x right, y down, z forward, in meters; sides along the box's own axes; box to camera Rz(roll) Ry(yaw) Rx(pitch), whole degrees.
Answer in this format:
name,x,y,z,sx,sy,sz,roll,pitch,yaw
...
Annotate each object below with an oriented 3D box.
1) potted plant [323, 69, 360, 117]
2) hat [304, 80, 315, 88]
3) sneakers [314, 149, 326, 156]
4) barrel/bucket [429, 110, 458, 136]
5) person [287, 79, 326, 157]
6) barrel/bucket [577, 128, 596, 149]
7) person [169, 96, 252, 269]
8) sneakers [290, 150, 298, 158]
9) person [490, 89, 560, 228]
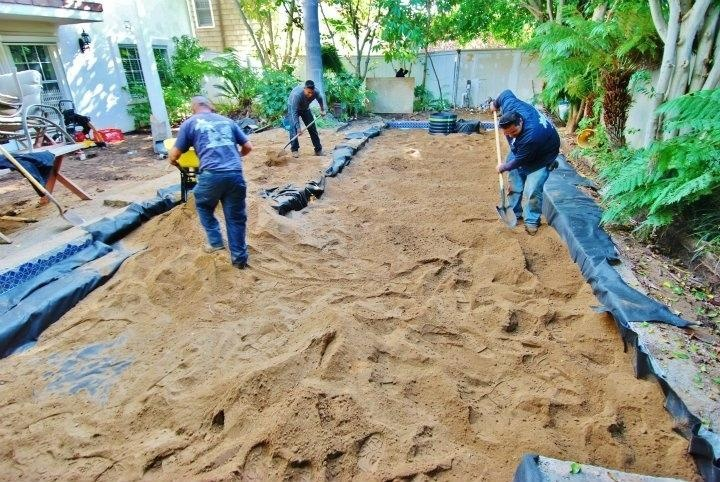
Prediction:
name,x,y,z,sx,sy,sz,roll,pitch,yaw
potted plant,-0.455,-4.128,13.091,0.847,1.250,1.700,0,23,16
hat,-0.912,-2.809,8.293,0.167,0.136,0.218,-8,22,-5
sneakers,-0.772,-1.723,8.995,0.178,0.119,0.088,-10,47,2
barrel/bucket,1.976,-2.801,10.994,0.580,0.346,0.567,-1,13,0
person,-1.063,-2.353,8.896,0.796,1.393,0.857,-2,23,10
barrel/bucket,4.183,-1.889,8.530,0.364,0.370,0.148,8,22,35
person,-1.601,-0.576,5.417,0.717,1.789,0.648,-18,26,-24
sneakers,-1.271,-1.690,8.921,0.134,0.126,0.300,-2,11,-13
person,2.221,-0.997,6.095,0.719,1.688,0.897,2,24,19
